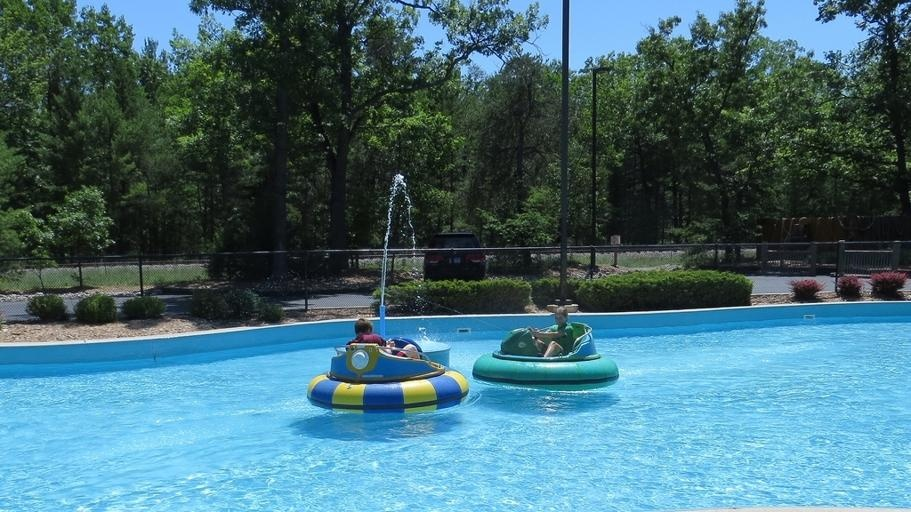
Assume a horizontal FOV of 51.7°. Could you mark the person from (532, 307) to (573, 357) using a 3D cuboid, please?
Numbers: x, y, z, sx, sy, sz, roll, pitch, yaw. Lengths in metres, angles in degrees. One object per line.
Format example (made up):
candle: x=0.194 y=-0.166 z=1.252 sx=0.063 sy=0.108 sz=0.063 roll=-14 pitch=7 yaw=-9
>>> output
person: x=5.228 y=3.286 z=47.040 sx=1.515 sy=1.586 sz=1.032 roll=6 pitch=31 yaw=21

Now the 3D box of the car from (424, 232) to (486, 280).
car: x=-0.008 y=-0.086 z=55.462 sx=3.419 sy=2.647 sz=1.319 roll=0 pitch=0 yaw=3
